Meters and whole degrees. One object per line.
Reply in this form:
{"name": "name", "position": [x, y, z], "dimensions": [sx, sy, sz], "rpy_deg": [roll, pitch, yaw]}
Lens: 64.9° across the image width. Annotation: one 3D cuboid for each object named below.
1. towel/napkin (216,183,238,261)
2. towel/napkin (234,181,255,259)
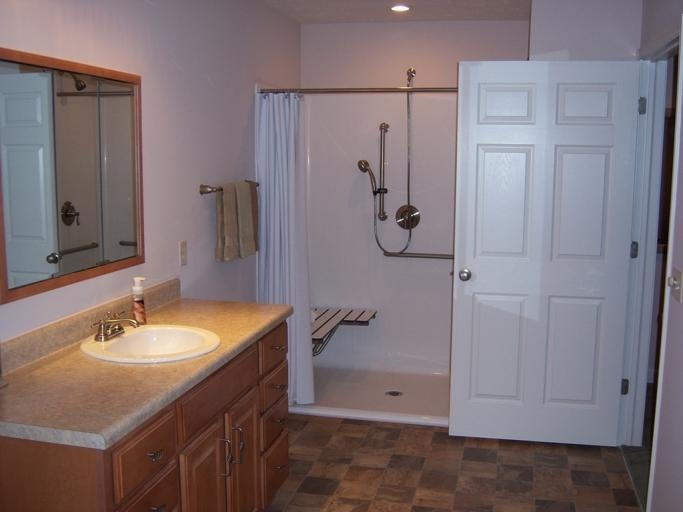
{"name": "towel/napkin", "position": [-0.692, -0.208, 3.229], "dimensions": [0.146, 0.456, 0.097], "rpy_deg": [-4, 11, -19]}
{"name": "towel/napkin", "position": [-0.615, -0.246, 3.367], "dimensions": [0.059, 0.457, 0.260], "rpy_deg": [-3, 5, 11]}
